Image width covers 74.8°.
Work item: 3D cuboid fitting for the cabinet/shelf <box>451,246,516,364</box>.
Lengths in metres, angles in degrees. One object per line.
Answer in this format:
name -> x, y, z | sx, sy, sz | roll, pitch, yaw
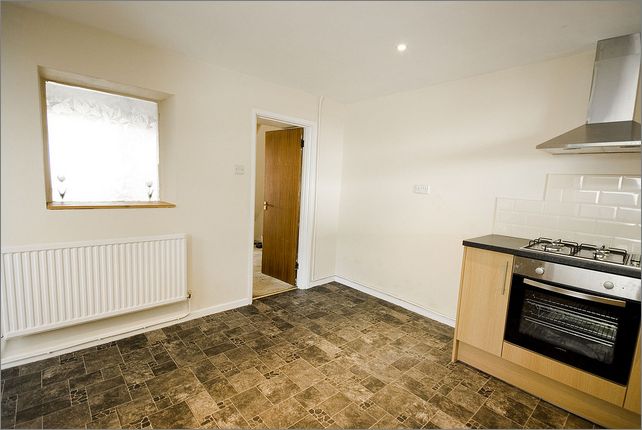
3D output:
cabinet/shelf -> 1.674, 0.927, 4.197 | 0.487, 1.201, 0.459 | 7, 3, 33
